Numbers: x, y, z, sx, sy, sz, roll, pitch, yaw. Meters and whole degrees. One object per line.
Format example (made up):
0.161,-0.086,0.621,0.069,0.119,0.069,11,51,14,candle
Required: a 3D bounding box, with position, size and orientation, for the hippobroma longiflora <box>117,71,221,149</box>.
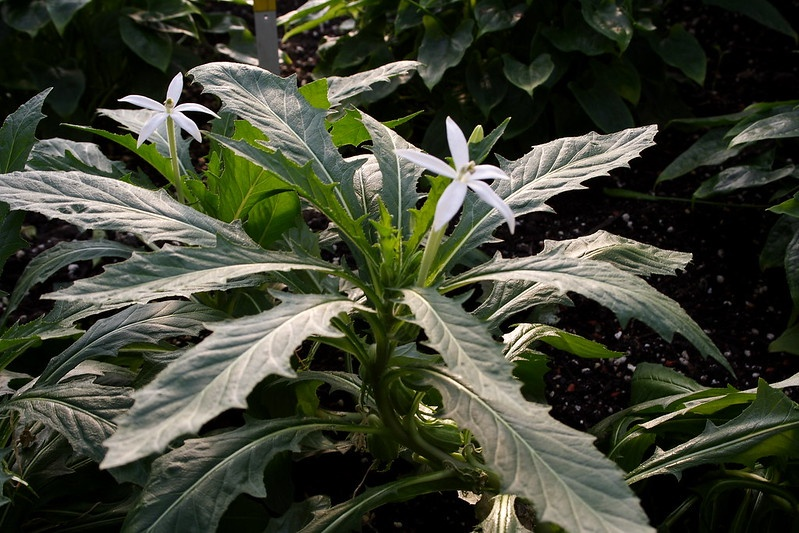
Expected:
-0.746,-0.470,2.071,0.229,0.133,0.282,-31,-10,25,hippobroma longiflora
